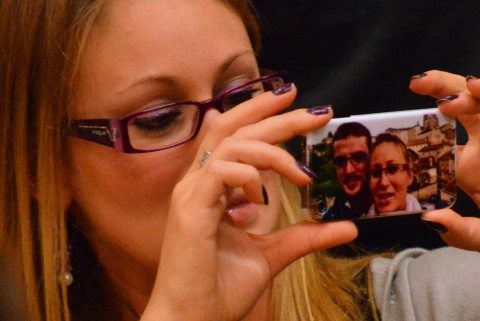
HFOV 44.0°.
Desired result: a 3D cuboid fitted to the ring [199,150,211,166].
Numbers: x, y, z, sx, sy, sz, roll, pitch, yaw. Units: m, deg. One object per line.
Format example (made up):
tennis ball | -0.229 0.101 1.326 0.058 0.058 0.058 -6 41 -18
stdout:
ring | -0.179 -0.016 3.073 0.022 0.074 0.057 34 -2 -32
